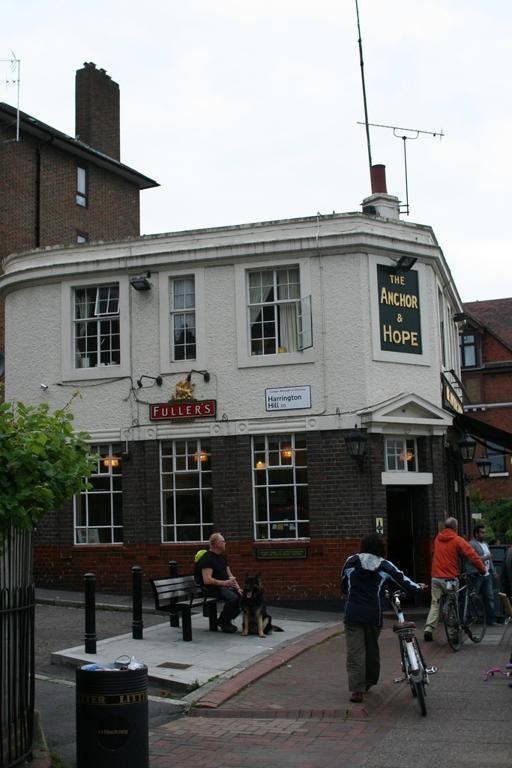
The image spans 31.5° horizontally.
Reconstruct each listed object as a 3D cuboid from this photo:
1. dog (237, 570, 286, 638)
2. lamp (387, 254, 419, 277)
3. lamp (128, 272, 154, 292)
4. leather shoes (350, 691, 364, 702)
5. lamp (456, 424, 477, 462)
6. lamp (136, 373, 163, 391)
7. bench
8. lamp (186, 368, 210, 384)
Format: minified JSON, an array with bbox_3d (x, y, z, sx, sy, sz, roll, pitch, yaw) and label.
[{"bbox_3d":[0.016,3.104,12.574,0.481,0.786,1.153,0,-20,14],"label":"dog"},{"bbox_3d":[3.060,-2.425,18.477,0.652,0.399,0.365,1,-9,-43],"label":"lamp"},{"bbox_3d":[-2.376,-2.138,18.861,0.375,0.467,0.464,-2,-13,20],"label":"lamp"},{"bbox_3d":[0.948,2.940,8.543,0.064,0.054,0.155,2,-2,9],"label":"leather shoes"},{"bbox_3d":[4.734,1.395,20.358,0.351,0.729,1.003,-7,-7,13],"label":"lamp"},{"bbox_3d":[-2.191,-0.050,18.645,0.580,0.324,0.158,-7,-7,21],"label":"lamp"},{"bbox_3d":[-0.954,3.074,12.771,0.807,0.882,2.006,-5,-6,-3],"label":"bench"},{"bbox_3d":[-1.145,-0.163,18.349,0.568,0.367,0.215,-2,-2,14],"label":"lamp"}]
